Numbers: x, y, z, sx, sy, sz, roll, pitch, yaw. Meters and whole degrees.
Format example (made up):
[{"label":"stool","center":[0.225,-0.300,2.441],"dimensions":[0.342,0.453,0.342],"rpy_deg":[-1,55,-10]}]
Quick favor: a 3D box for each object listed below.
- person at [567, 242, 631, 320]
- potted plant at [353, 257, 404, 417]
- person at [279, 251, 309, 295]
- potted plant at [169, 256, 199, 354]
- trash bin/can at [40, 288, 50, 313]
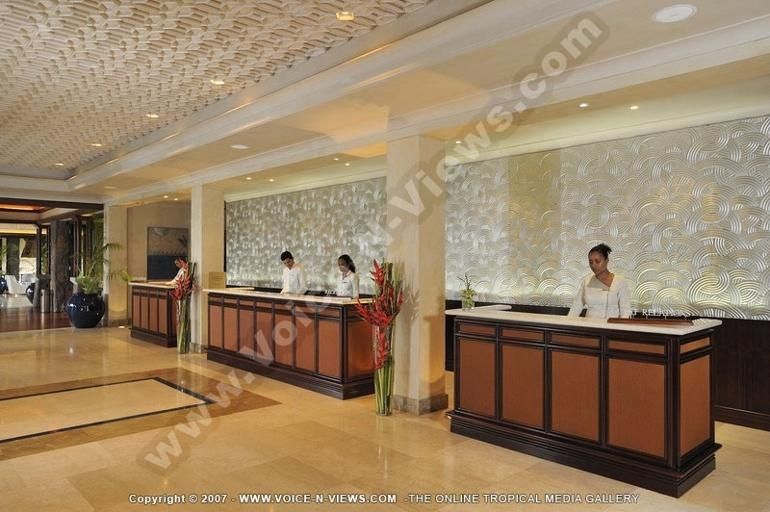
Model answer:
[{"label":"person","center":[2.632,0.303,5.847],"dimensions":[0.661,0.895,0.305],"rpy_deg":[2,5,21]},{"label":"potted plant","center":[0.018,1.152,6.874],"dimensions":[0.462,2.150,0.427],"rpy_deg":[-3,6,-38]},{"label":"person","center":[-1.892,0.352,9.541],"dimensions":[0.669,0.900,0.511],"rpy_deg":[13,22,31]},{"label":"potted plant","center":[-4.473,1.097,10.662],"dimensions":[0.451,2.014,0.758],"rpy_deg":[-3,6,-36]},{"label":"trash bin/can","center":[-11.944,1.571,16.826],"dimensions":[0.236,0.823,0.364],"rpy_deg":[-3,6,-37]}]
